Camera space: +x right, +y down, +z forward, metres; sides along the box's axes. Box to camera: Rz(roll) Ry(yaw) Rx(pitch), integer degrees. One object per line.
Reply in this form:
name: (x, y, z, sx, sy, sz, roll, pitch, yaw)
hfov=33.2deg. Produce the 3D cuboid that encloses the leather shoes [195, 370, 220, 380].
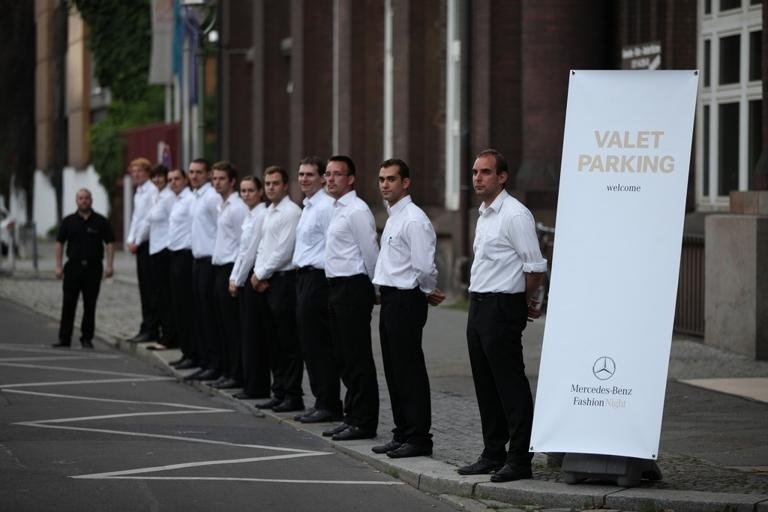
leather shoes: (-2.434, 1.615, 17.525, 0.279, 0.105, 0.158, 6, 0, -2)

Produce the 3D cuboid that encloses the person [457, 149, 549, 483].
person: (1.218, 0.587, 13.163, 0.834, 3.322, 0.632, -2, 3, -4)

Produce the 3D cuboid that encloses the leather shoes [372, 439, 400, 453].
leather shoes: (0.044, 2.071, 14.157, 0.342, 0.139, 0.128, -1, 2, -3)

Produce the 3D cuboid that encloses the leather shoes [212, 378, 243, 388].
leather shoes: (-2.075, 1.676, 17.052, 0.424, 0.173, 0.146, 6, 0, 4)

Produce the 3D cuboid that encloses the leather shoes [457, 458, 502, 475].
leather shoes: (1.007, 2.175, 13.368, 0.488, 0.214, 0.175, 2, -3, -3)

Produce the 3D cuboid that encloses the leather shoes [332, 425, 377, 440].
leather shoes: (-0.334, 2.006, 14.618, 0.491, 0.184, 0.179, 2, -3, -7)

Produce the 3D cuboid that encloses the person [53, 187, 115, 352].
person: (-4.731, 0.186, 20.038, 0.997, 2.444, 0.622, -3, 4, -14)

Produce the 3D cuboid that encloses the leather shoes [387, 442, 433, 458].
leather shoes: (0.277, 2.089, 13.992, 0.494, 0.188, 0.186, 2, -6, -5)

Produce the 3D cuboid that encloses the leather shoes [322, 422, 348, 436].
leather shoes: (-0.530, 1.966, 14.791, 0.333, 0.133, 0.124, -9, 2, -20)

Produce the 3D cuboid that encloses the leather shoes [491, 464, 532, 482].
leather shoes: (1.327, 2.193, 13.131, 0.463, 0.199, 0.158, 0, -4, -23)

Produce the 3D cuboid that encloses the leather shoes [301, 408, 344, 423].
leather shoes: (-0.741, 1.880, 15.390, 0.512, 0.208, 0.174, 3, -5, -9)

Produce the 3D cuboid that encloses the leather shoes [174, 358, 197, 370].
leather shoes: (-2.820, 1.515, 18.217, 0.405, 0.169, 0.126, 4, -1, -4)

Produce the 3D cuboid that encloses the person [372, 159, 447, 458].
person: (0.220, 0.551, 14.051, 0.748, 3.199, 0.581, -1, 4, 17)

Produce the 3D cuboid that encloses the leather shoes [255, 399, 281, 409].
leather shoes: (-1.426, 1.831, 15.991, 0.366, 0.146, 0.126, 1, 1, -3)
